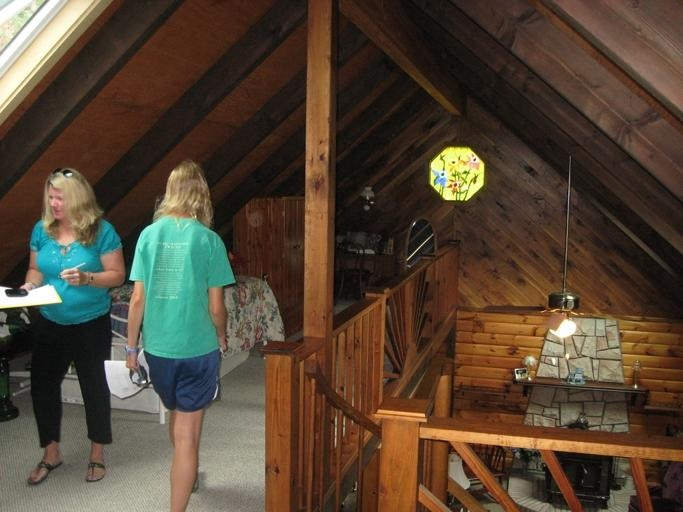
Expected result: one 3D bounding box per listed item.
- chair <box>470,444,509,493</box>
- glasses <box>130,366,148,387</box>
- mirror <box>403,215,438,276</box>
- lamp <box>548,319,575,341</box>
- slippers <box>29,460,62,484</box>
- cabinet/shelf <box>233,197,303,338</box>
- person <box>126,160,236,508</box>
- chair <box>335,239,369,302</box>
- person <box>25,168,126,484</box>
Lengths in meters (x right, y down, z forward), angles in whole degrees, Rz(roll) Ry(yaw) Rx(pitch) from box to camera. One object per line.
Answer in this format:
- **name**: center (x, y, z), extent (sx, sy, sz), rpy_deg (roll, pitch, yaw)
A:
- **chair**: center (2.090, 3.030, 9.391), extent (0.480, 0.670, 0.430), rpy_deg (26, -34, -19)
- **glasses**: center (-1.142, 0.674, 3.714), extent (0.076, 0.136, 0.073), rpy_deg (17, 35, 30)
- **mirror**: center (0.786, -0.134, 6.581), extent (0.293, 0.531, 0.462), rpy_deg (2, -13, 8)
- **lamp**: center (2.292, 0.724, 6.859), extent (0.209, 0.207, 0.423), rpy_deg (-3, -15, 27)
- **slippers**: center (-1.863, 1.353, 4.111), extent (0.064, 0.044, 0.178), rpy_deg (12, 3, 5)
- **cabinet/shelf**: center (-0.857, 0.205, 7.439), extent (0.419, 1.364, 0.741), rpy_deg (-19, 16, -7)
- **person**: center (-0.887, 0.418, 3.546), extent (0.542, 1.846, 0.444), rpy_deg (7, -13, -16)
- **chair**: center (0.105, 0.265, 9.769), extent (0.654, 1.069, 0.741), rpy_deg (0, -3, -2)
- **person**: center (-1.618, 0.347, 3.977), extent (0.559, 1.593, 0.645), rpy_deg (5, -13, -4)
